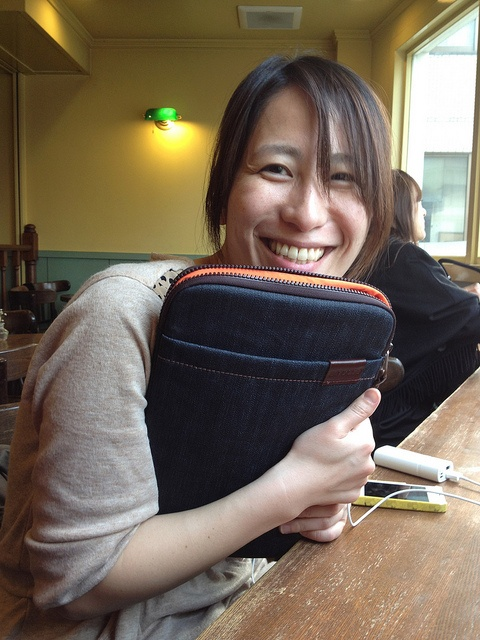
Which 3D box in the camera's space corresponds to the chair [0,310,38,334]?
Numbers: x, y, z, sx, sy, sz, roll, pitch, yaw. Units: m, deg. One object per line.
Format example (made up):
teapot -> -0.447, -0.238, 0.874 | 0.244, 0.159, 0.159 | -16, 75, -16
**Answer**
chair -> -1.090, 0.017, 2.626 | 0.136, 0.157, 0.132 | 1, 25, -13
